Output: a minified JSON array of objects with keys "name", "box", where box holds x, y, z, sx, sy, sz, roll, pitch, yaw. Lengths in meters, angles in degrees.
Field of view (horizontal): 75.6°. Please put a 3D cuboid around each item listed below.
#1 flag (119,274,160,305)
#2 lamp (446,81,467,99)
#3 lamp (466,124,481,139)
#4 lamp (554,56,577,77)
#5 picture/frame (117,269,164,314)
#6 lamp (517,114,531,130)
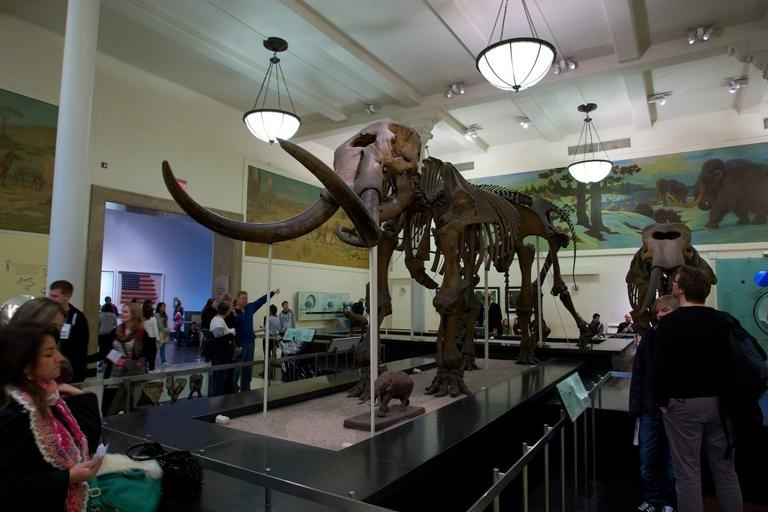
[{"name":"flag","box":[-7.687,1.057,15.407,0.093,0.767,1.177,-7,-4,23]},{"name":"lamp","box":[1.717,-3.965,11.841,0.416,0.312,0.472,-4,-4,23]},{"name":"lamp","box":[2.803,-3.891,15.497,0.306,0.330,0.477,6,5,20]},{"name":"lamp","box":[3.976,-4.197,10.778,0.503,0.455,0.461,-3,-4,16]},{"name":"picture/frame","box":[-7.111,1.003,14.306,0.060,0.833,1.297,-8,-4,24]},{"name":"lamp","box":[4.281,-4.025,14.835,0.194,0.301,0.483,-1,4,-38]}]
